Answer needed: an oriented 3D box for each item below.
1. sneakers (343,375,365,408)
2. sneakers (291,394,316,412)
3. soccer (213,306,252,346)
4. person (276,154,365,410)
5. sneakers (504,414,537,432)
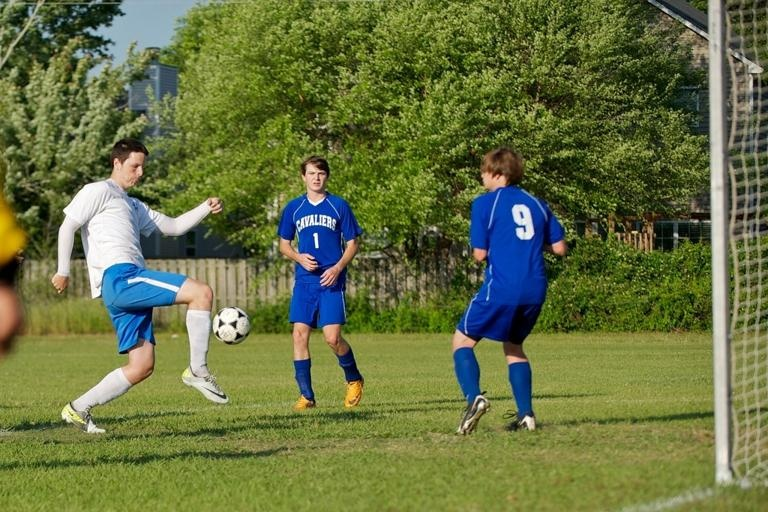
[{"bbox_3d":[-0.463,2.043,17.634,0.193,0.502,0.225,2,-19,20],"label":"sneakers"},{"bbox_3d":[-1.200,2.232,17.478,0.133,0.161,0.371,-6,-9,25],"label":"sneakers"},{"bbox_3d":[-2.475,1.124,18.964,0.573,0.579,0.584,-7,17,24],"label":"soccer"},{"bbox_3d":[-0.940,0.383,17.535,1.210,3.782,0.787,-2,7,-3],"label":"person"},{"bbox_3d":[1.912,2.294,15.905,0.498,0.225,0.184,1,-3,8],"label":"sneakers"}]
